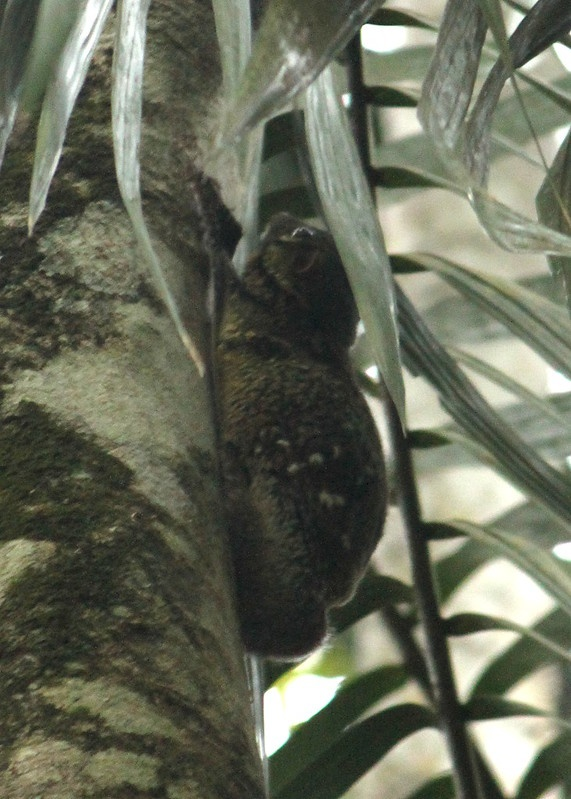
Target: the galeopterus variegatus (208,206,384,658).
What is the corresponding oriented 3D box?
[{"bbox_3d":[0.007,0.007,2.525,0.327,0.680,0.219,-24,-39,31],"label":"galeopterus variegatus"}]
